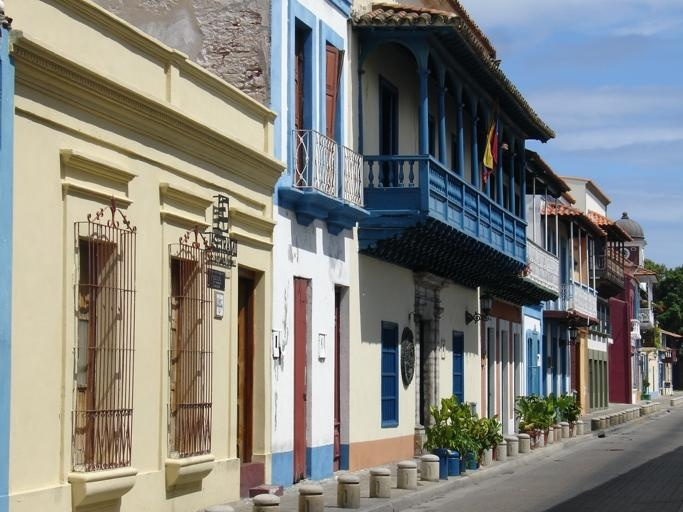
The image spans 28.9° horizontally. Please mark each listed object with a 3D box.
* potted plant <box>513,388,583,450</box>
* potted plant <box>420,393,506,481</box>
[{"bbox_3d":[5.290,4.415,34.794,1.506,1.263,1.613,1,-3,-8],"label":"potted plant"},{"bbox_3d":[2.494,3.730,27.605,1.374,1.812,1.400,-3,-7,29],"label":"potted plant"}]
